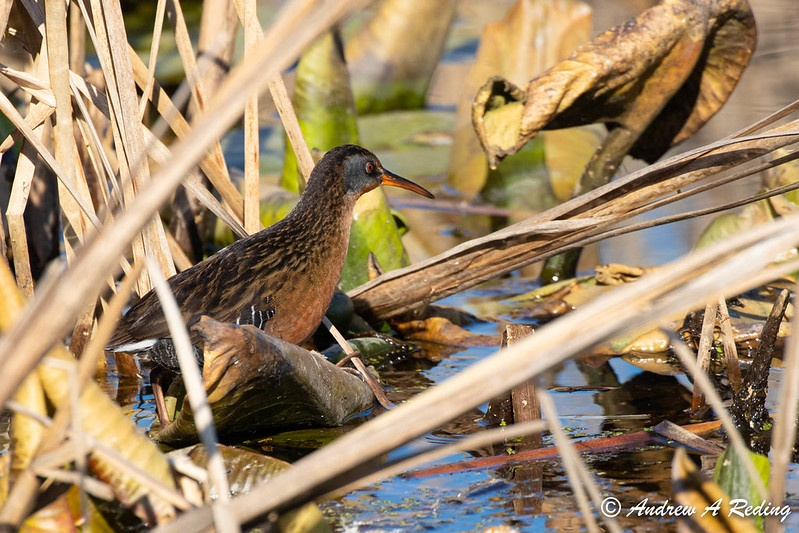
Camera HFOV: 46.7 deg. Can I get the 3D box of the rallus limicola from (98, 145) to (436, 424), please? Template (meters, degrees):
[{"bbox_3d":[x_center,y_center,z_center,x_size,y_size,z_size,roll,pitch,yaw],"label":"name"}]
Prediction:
[{"bbox_3d":[-0.519,-0.048,3.650,1.570,1.112,0.614,2,-5,-18],"label":"rallus limicola"}]
